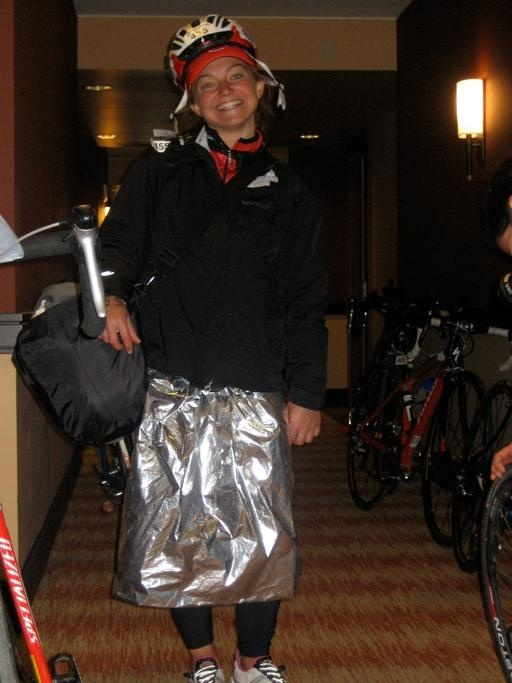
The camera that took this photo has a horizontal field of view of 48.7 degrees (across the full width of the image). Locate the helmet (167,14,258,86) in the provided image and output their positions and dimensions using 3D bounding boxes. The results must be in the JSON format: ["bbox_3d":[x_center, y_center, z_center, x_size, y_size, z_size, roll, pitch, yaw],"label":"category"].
[{"bbox_3d":[-0.096,-0.649,1.276,0.152,0.170,0.186,-16,-17,-5],"label":"helmet"}]

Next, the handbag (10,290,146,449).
[{"bbox_3d":[-0.355,0.050,1.038,0.213,0.270,0.100,-35,22,-31],"label":"handbag"}]

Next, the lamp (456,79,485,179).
[{"bbox_3d":[1.207,-1.188,3.185,0.148,0.528,0.144,0,5,18],"label":"lamp"}]
